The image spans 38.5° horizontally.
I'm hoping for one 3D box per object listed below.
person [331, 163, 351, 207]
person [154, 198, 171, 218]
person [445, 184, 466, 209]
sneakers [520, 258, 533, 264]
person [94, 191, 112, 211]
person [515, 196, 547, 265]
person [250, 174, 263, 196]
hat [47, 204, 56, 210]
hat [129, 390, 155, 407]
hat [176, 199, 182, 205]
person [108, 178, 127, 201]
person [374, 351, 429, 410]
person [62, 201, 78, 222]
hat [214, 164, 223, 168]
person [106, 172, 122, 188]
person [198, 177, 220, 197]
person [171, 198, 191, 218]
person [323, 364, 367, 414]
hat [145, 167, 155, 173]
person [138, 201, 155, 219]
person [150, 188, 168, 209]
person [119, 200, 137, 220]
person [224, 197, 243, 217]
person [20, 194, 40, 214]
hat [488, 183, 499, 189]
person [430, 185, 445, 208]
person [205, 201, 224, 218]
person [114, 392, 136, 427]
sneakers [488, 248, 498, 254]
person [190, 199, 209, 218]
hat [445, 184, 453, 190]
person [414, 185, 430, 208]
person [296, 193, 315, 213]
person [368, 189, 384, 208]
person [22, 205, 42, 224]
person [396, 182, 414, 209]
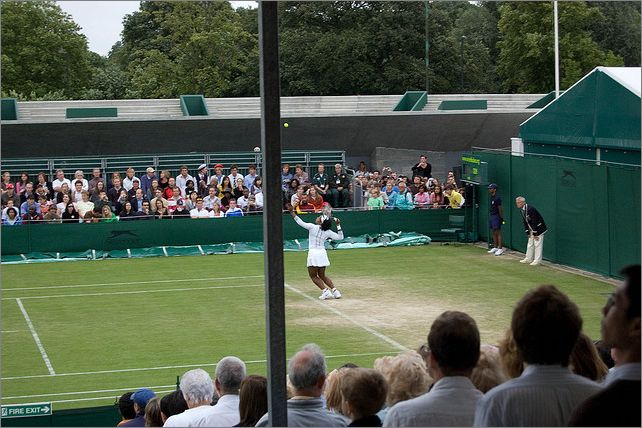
[{"bbox_3d":[0.800,-1.253,40.527,0.904,1.856,0.890,-1,11,4],"label":"person"},{"bbox_3d":[-6.438,-0.239,37.018,0.628,0.767,0.459,-7,13,-26],"label":"person"},{"bbox_3d":[5.761,-0.724,39.554,0.833,0.769,1.334,-1,11,4],"label":"person"},{"bbox_3d":[7.691,1.777,34.354,0.363,0.135,0.146,3,2,4],"label":"sneakers"},{"bbox_3d":[-8.740,-0.495,36.591,0.768,0.738,0.424,2,-12,-34],"label":"person"},{"bbox_3d":[7.761,0.613,33.790,1.078,2.623,1.049,0,11,8],"label":"person"},{"bbox_3d":[-2.794,-1.235,39.128,0.442,0.666,1.084,-2,11,-2],"label":"person"},{"bbox_3d":[-10.630,-0.274,36.071,0.257,0.173,0.308,0,2,-2],"label":"hat"},{"bbox_3d":[-3.761,3.780,19.151,0.416,0.231,0.319,20,20,37],"label":"hat"},{"bbox_3d":[-5.774,-0.478,37.253,0.221,0.138,0.310,0,-2,-15],"label":"hat"},{"bbox_3d":[-8.313,-0.953,37.318,0.888,1.205,0.672,2,-10,-24],"label":"person"},{"bbox_3d":[1.543,3.329,17.664,1.291,1.151,0.961,6,-20,-1],"label":"person"},{"bbox_3d":[-9.968,-0.062,36.299,0.830,1.005,0.382,-1,-2,-15],"label":"person"},{"bbox_3d":[-4.594,-2.153,41.003,0.472,0.177,0.533,-1,3,-10],"label":"hat"},{"bbox_3d":[-8.884,-1.461,39.329,0.980,0.879,0.511,-1,2,-14],"label":"person"},{"bbox_3d":[-4.718,-1.104,38.472,0.850,1.619,0.587,2,-8,-9],"label":"person"},{"bbox_3d":[-5.721,-0.196,37.386,0.808,1.240,0.468,0,-3,-17],"label":"person"},{"bbox_3d":[0.317,3.506,18.146,0.936,0.965,1.038,0,0,-8],"label":"person"},{"bbox_3d":[-7.118,-1.874,38.097,0.352,0.224,0.446,0,-9,-26],"label":"hat"},{"bbox_3d":[-7.066,-0.167,36.784,0.469,0.702,0.596,7,14,37],"label":"person"},{"bbox_3d":[-6.624,-0.591,37.316,0.768,0.870,0.485,-1,-36,-6],"label":"person"},{"bbox_3d":[-7.781,-0.134,36.594,0.661,0.723,0.568,-2,11,-5],"label":"person"},{"bbox_3d":[-3.587,-0.257,37.734,0.801,0.714,0.398,-2,3,-13],"label":"person"},{"bbox_3d":[-11.640,-0.351,36.398,0.611,0.810,0.896,1,-3,-15],"label":"person"},{"bbox_3d":[6.723,-1.092,35.822,0.304,0.148,0.219,11,-2,11],"label":"hat"},{"bbox_3d":[5.012,-0.747,39.531,0.570,0.809,0.785,-1,11,5],"label":"person"},{"bbox_3d":[-4.359,-0.157,37.469,0.696,1.229,0.461,-1,-7,-3],"label":"person"},{"bbox_3d":[-4.125,4.138,19.373,0.550,0.685,0.598,2,30,-8],"label":"person"},{"bbox_3d":[6.841,1.480,36.515,0.365,0.147,0.133,-2,0,44],"label":"sneakers"},{"bbox_3d":[-4.956,-0.191,37.273,0.618,0.695,0.840,0,1,-7],"label":"person"},{"bbox_3d":[5.614,-1.180,40.175,0.256,0.244,0.209,-7,6,43],"label":"hat"},{"bbox_3d":[4.398,-0.723,39.717,0.818,1.138,0.707,-3,-25,11],"label":"person"},{"bbox_3d":[-0.654,-0.434,37.909,0.832,0.743,0.395,0,-8,-11],"label":"person"},{"bbox_3d":[2.344,-0.620,39.364,0.751,1.162,0.386,-2,-16,4],"label":"person"},{"bbox_3d":[-11.355,0.014,35.852,0.812,0.670,0.823,-2,11,-2],"label":"person"},{"bbox_3d":[3.593,-0.837,39.466,0.783,1.055,0.552,0,11,5],"label":"person"}]
